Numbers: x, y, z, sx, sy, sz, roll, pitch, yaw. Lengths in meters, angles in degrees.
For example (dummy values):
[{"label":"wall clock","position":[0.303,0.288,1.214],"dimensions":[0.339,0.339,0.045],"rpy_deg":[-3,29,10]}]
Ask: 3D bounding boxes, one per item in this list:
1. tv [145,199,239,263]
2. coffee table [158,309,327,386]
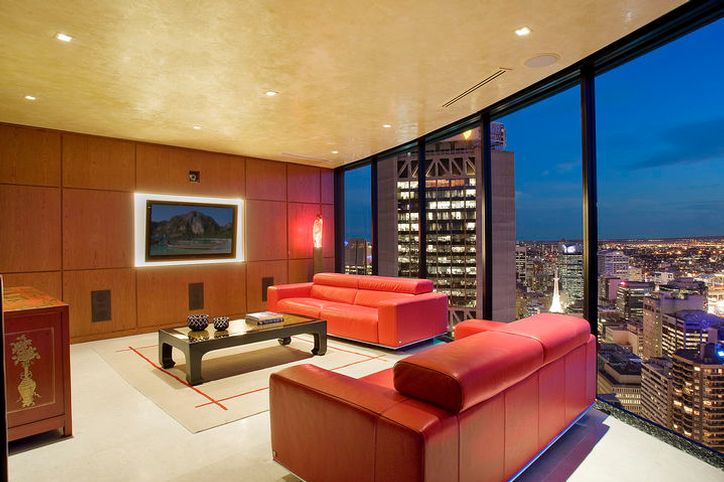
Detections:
[{"label":"tv","position":[-2.914,-0.181,7.797],"dimensions":[1.183,0.763,0.122],"rpy_deg":[0,3,-36]},{"label":"coffee table","position":[-1.222,1.355,5.902],"dimensions":[1.671,0.344,0.857],"rpy_deg":[-8,-11,-15]}]
